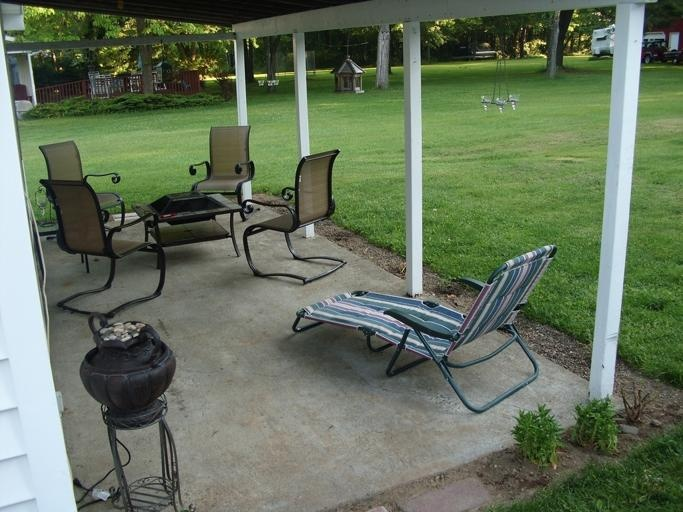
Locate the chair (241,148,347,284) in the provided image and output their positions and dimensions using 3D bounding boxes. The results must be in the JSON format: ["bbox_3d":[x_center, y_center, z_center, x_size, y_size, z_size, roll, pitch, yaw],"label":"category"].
[{"bbox_3d":[-0.506,-0.472,6.100,0.938,1.280,0.857,11,21,34],"label":"chair"}]

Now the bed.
[{"bbox_3d":[0.581,0.385,4.110,1.634,1.086,0.830,11,26,36],"label":"bed"}]

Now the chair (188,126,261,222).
[{"bbox_3d":[-1.681,-1.215,8.016,0.890,1.186,0.901,6,17,20],"label":"chair"}]

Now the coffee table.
[{"bbox_3d":[-1.780,-0.443,6.455,0.910,0.576,0.962,-9,22,-30],"label":"coffee table"}]
